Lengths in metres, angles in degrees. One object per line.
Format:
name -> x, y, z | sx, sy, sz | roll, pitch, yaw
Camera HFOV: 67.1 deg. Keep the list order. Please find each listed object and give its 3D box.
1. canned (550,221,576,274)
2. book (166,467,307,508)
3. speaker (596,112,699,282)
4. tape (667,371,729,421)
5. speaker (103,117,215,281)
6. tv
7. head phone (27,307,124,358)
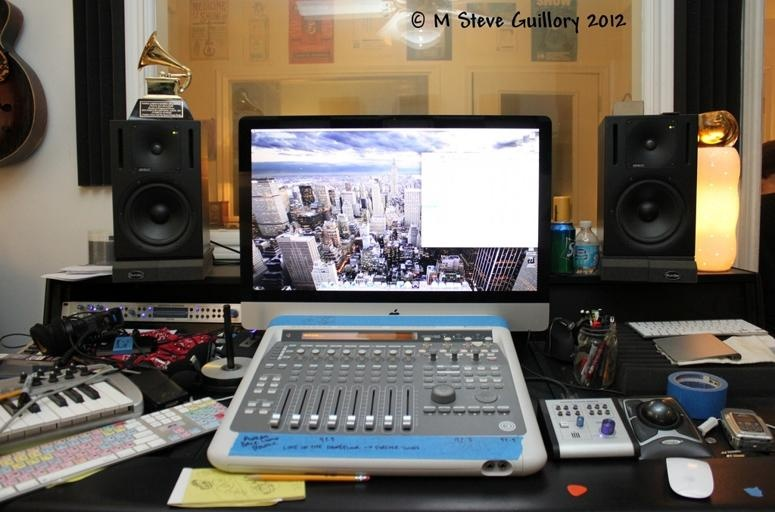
canned -> 0.573, -0.025, 1.913 | 0.075, 0.161, 0.076 | 1, 10, 18
book -> -0.327, 0.504, 1.269 | 0.204, 0.020, 0.104 | 3, 31, -2
speaker -> 0.825, -0.180, 1.851 | 0.279, 0.514, 0.120 | 0, 10, 13
tape -> 0.776, 0.347, 1.484 | 0.126, 0.074, 0.124 | -3, 8, -7
speaker -> -0.763, -0.179, 1.929 | 0.297, 0.523, 0.095 | -3, 10, -7
tv -> 0.018, -0.090, 1.623 | 0.857, 0.590, 0.101 | -1, 10, 2
head phone -> -0.936, 0.223, 1.766 | 0.133, 0.109, 0.207 | 5, 18, 36
